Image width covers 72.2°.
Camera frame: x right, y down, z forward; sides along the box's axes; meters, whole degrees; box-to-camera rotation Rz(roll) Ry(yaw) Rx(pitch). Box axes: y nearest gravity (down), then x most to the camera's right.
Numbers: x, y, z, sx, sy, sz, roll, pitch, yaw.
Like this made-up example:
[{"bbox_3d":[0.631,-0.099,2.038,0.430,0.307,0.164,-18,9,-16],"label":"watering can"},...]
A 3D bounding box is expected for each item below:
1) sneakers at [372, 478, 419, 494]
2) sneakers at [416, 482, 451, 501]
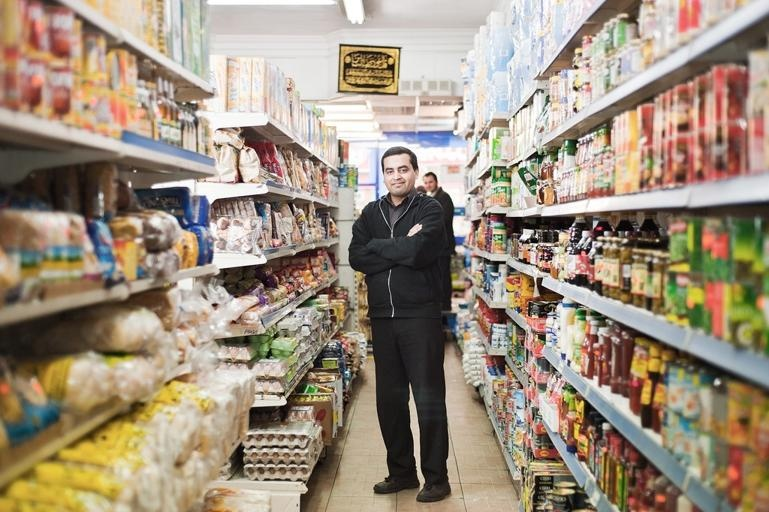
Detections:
[{"bbox_3d":[0.084,1.616,3.796,0.323,0.140,0.116,3,-5,-12],"label":"sneakers"},{"bbox_3d":[0.345,1.608,3.655,0.247,0.107,0.096,13,-18,-42],"label":"sneakers"}]
